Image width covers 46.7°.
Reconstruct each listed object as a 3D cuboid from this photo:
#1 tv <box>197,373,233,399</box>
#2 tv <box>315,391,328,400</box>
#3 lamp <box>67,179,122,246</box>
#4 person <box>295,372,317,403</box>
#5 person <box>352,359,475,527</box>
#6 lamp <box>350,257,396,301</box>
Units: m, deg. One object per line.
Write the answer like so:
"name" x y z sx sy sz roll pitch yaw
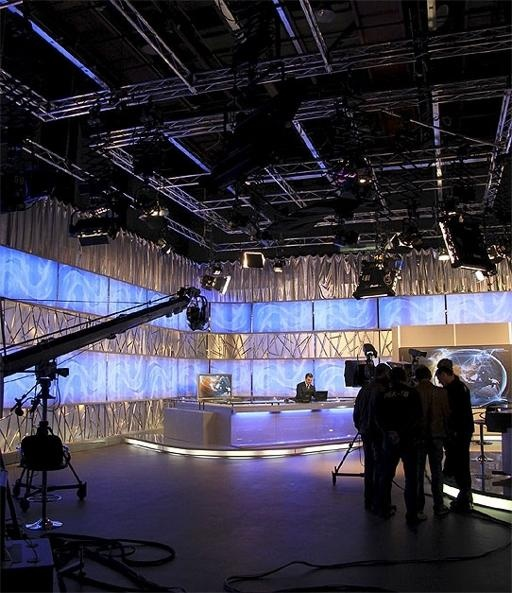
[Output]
"tv" -0.783 1.701 11.195 0.605 0.414 0.063 2 -14 -13
"tv" 1.329 2.001 11.922 0.197 0.173 0.389 -4 -6 31
"lamp" -2.459 -1.350 9.156 0.665 0.863 0.491 -2 16 2
"person" 1.011 1.861 12.223 0.367 0.539 1.085 -2 -5 5
"person" 1.654 1.447 5.947 0.974 1.516 0.527 2 -5 -34
"lamp" 2.292 -0.378 11.427 0.828 0.793 0.812 -2 -5 12
